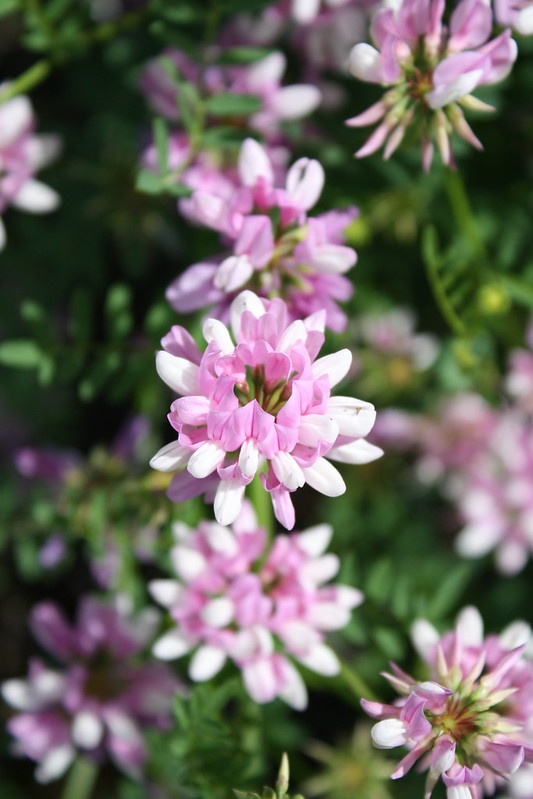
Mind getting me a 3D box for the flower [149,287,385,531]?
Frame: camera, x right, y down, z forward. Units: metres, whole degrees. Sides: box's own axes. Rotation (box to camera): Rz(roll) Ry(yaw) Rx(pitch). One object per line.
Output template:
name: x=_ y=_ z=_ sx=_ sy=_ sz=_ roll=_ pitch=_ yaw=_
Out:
flower: x=0.001 y=0.000 z=0.413 sx=0.115 sy=0.079 sz=0.136 roll=-2 pitch=62 yaw=5
